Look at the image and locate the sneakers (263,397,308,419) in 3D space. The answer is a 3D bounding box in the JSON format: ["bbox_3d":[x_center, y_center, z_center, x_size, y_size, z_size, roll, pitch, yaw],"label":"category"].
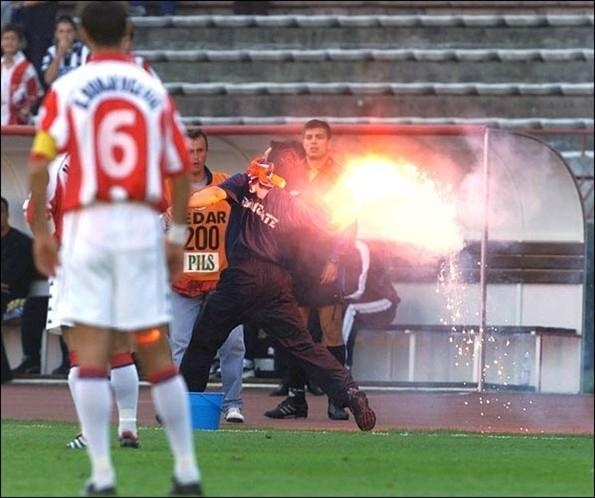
[{"bbox_3d":[-0.115,1.145,9.766,0.364,0.196,0.128,2,0,-6],"label":"sneakers"}]

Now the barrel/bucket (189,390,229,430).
[{"bbox_3d":[-0.642,1.095,9.149,0.271,0.243,0.274,0,-5,0],"label":"barrel/bucket"}]

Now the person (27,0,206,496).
[{"bbox_3d":[-0.965,-0.036,7.135,0.878,2.632,0.455,-1,-2,-6],"label":"person"}]

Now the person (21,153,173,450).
[{"bbox_3d":[-1.259,0.128,8.117,0.722,2.187,0.623,-7,15,-40],"label":"person"}]

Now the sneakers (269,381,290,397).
[{"bbox_3d":[-0.145,1.139,11.043,0.251,0.117,0.086,3,6,34],"label":"sneakers"}]

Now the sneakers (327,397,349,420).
[{"bbox_3d":[0.291,1.158,9.653,0.088,0.112,0.268,1,-6,-12],"label":"sneakers"}]

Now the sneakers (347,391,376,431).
[{"bbox_3d":[0.418,1.050,8.971,0.153,0.285,0.108,-37,-20,30],"label":"sneakers"}]

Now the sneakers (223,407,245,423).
[{"bbox_3d":[-0.456,1.163,9.480,0.113,0.116,0.260,0,2,-3],"label":"sneakers"}]
